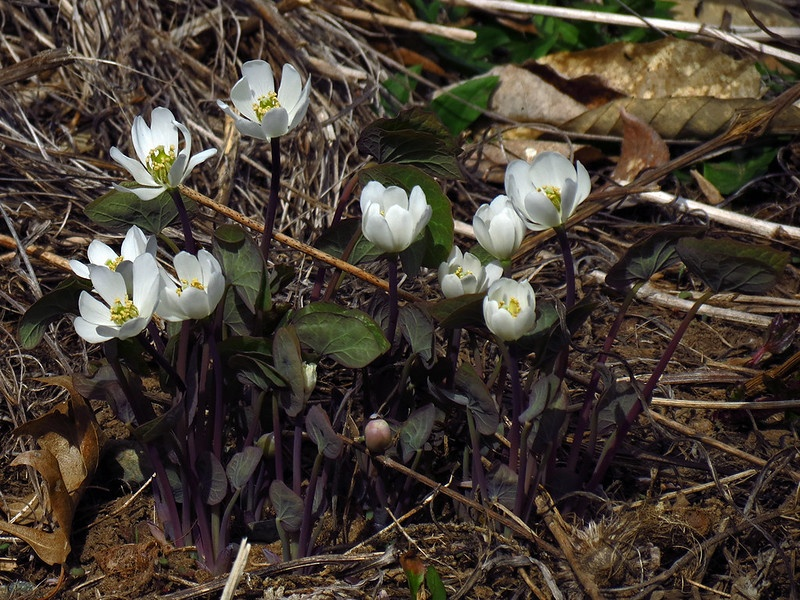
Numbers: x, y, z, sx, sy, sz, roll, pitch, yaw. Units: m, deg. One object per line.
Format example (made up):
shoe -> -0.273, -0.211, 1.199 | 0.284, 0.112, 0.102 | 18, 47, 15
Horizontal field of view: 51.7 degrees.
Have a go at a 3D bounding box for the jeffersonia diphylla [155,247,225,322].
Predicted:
jeffersonia diphylla -> -0.418, -0.012, 1.669 | 0.134, 0.107, 0.145 | -25, 21, -31

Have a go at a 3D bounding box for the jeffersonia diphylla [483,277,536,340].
jeffersonia diphylla -> 0.219, 0.015, 1.620 | 0.092, 0.111, 0.124 | 0, 42, 1

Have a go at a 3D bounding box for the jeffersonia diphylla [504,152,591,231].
jeffersonia diphylla -> 0.290, -0.224, 1.666 | 0.150, 0.125, 0.168 | 29, 60, 26

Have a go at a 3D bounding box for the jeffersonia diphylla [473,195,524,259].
jeffersonia diphylla -> 0.215, -0.135, 1.713 | 0.101, 0.097, 0.116 | -6, 83, -23

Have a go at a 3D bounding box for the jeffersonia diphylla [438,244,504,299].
jeffersonia diphylla -> 0.144, -0.052, 1.721 | 0.092, 0.082, 0.129 | -1, 26, 9

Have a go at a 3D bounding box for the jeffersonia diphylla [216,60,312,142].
jeffersonia diphylla -> -0.277, -0.411, 1.758 | 0.166, 0.089, 0.209 | 27, 51, 35

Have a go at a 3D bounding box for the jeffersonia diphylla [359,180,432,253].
jeffersonia diphylla -> -0.009, -0.155, 1.699 | 0.127, 0.148, 0.125 | -13, 45, -25

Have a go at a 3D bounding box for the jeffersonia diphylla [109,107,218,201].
jeffersonia diphylla -> -0.478, -0.270, 1.738 | 0.203, 0.098, 0.169 | 4, 13, 31
